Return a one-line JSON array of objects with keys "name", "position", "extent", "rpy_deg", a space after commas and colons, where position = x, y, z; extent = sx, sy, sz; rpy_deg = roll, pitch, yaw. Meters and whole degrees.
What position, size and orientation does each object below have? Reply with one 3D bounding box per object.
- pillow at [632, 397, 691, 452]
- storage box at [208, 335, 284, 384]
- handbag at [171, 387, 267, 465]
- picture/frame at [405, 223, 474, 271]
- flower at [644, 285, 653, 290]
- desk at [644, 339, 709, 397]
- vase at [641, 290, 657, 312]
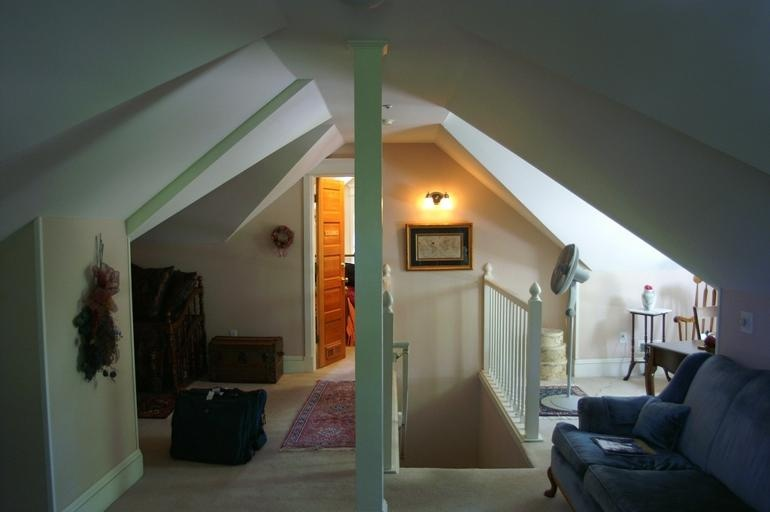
[{"name": "pillow", "position": [1.948, 1.172, 3.907], "extent": [0.114, 0.306, 0.303], "rpy_deg": [38, -22, -32]}, {"name": "storage box", "position": [-1.596, 1.218, 6.546], "extent": [0.821, 0.500, 0.511], "rpy_deg": [1, 6, -1]}, {"name": "handbag", "position": [-1.441, 1.465, 4.998], "extent": [0.811, 0.565, 0.597], "rpy_deg": [0, -5, 4]}, {"name": "picture/frame", "position": [0.678, -0.113, 6.635], "extent": [0.579, 0.419, 0.045], "rpy_deg": [0, 1, 1]}, {"name": "flower", "position": [3.033, 0.369, 6.366], "extent": [0.054, 0.030, 0.089], "rpy_deg": [0, 2, 10]}, {"name": "desk", "position": [2.474, 0.967, 4.853], "extent": [0.455, 0.491, 0.510], "rpy_deg": [-4, 6, -28]}, {"name": "vase", "position": [3.039, 0.512, 6.373], "extent": [0.145, 0.250, 0.352], "rpy_deg": [4, 12, 26]}]
